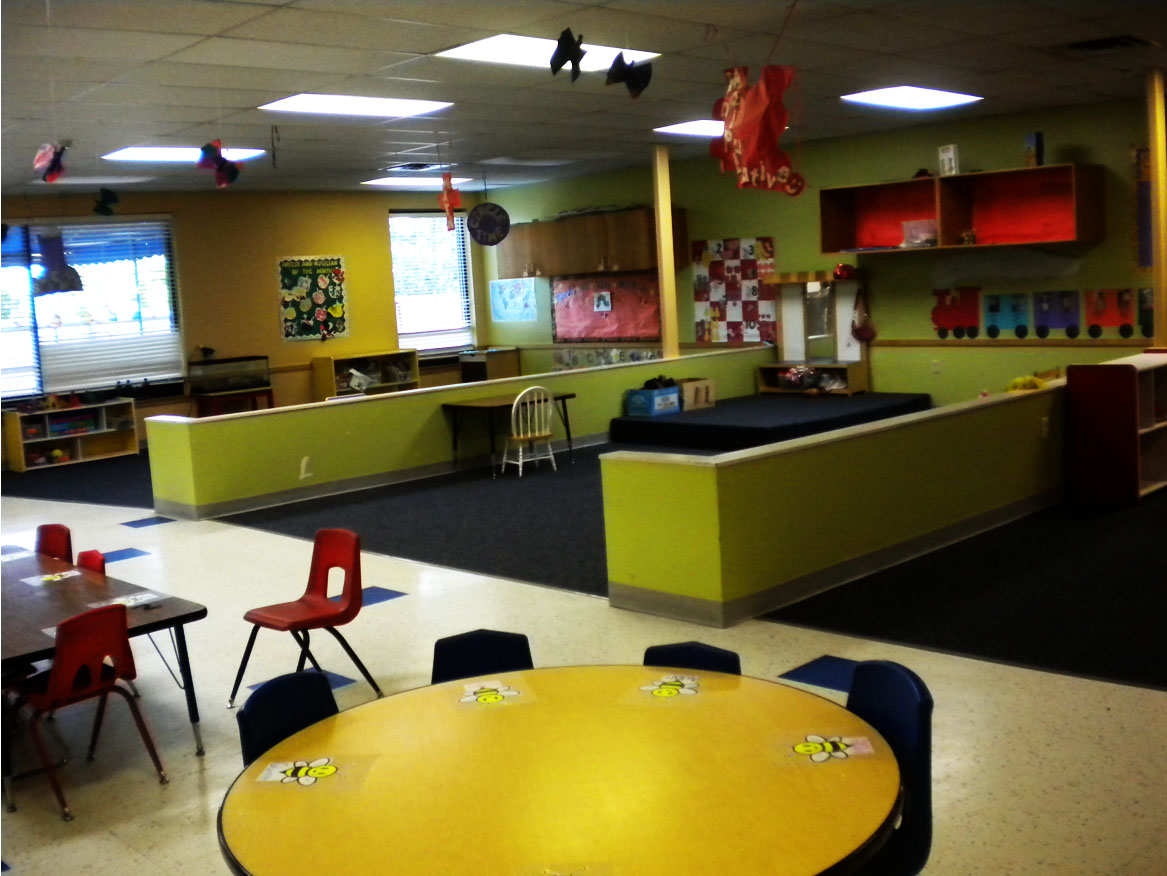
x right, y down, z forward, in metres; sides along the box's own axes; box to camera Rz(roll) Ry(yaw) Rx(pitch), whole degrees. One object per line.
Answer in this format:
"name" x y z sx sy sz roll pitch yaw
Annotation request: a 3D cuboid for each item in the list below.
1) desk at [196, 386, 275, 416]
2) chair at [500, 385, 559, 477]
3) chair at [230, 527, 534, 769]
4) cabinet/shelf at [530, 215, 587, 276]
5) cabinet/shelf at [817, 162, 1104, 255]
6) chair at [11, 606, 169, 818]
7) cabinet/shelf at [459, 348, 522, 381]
"desk" -4.822 -0.504 12.166 0.287 0.421 0.544 8 14 39
"chair" -0.638 -0.138 10.028 0.651 0.929 1.307 -5 11 -2
"chair" -0.999 0.995 4.363 0.406 0.513 1.038 -2 3 37
"cabinet/shelf" -0.373 -2.992 13.889 1.055 0.884 0.351 4 7 44
"cabinet/shelf" 4.177 -2.507 9.998 2.809 0.844 0.797 5 14 37
"chair" -2.336 1.115 4.032 0.587 0.836 0.982 -11 14 -31
"cabinet/shelf" -1.502 -1.233 14.917 0.992 0.495 0.738 -10 13 -29
